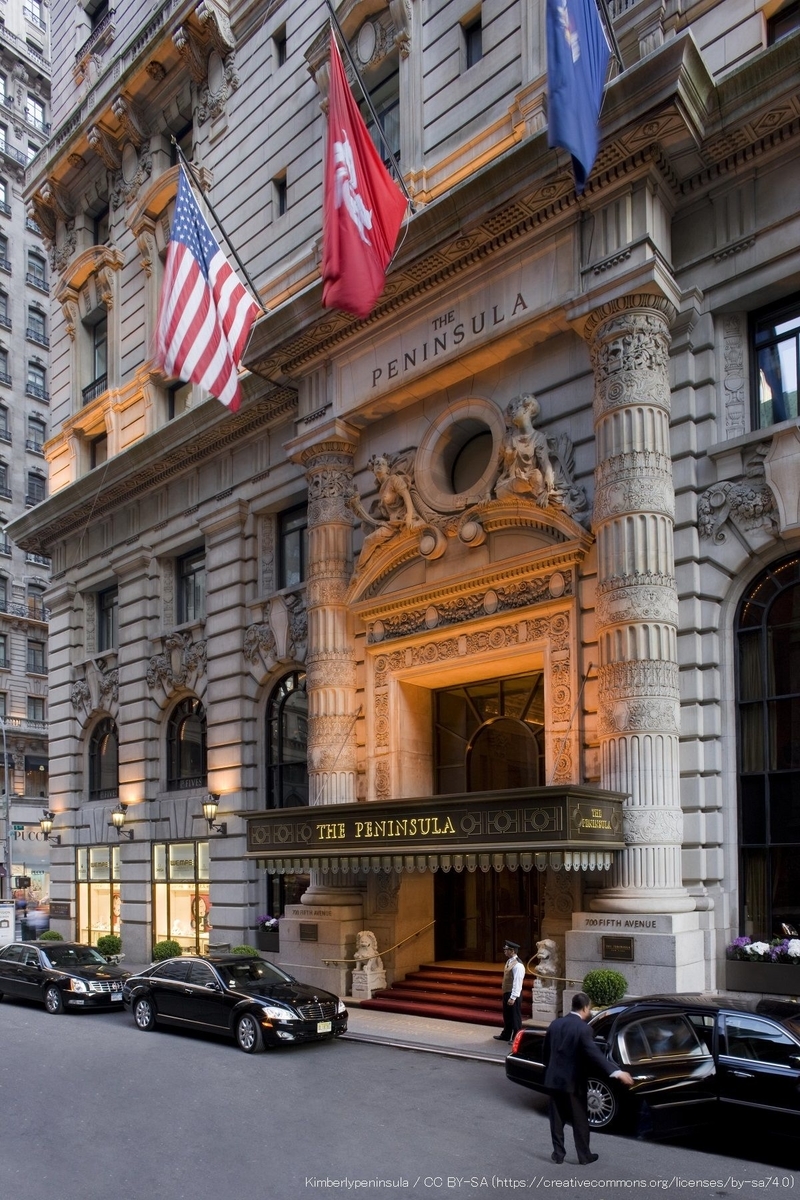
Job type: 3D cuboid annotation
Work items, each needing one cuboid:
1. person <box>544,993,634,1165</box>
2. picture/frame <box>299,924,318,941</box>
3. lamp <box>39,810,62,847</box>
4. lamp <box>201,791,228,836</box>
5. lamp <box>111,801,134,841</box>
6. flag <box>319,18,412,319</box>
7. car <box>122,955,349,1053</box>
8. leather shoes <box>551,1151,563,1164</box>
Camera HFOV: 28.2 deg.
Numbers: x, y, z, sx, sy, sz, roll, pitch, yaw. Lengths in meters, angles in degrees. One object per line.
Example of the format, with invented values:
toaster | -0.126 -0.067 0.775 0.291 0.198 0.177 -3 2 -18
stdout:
person | 2.086 5.511 18.197 0.896 1.751 0.991 -3 -1 22
picture/frame | -1.686 6.098 29.114 0.064 0.321 0.517 -2 -1 -43
lamp | -9.164 5.966 41.570 0.506 0.796 1.231 -2 -1 -22
lamp | -3.971 4.637 34.073 0.454 0.812 1.200 -3 -1 -7
lamp | -6.610 5.324 37.829 0.519 0.769 1.326 -3 -1 -10
flag | -0.767 -6.879 26.220 0.822 4.098 1.561 -3 -1 26
car | -2.600 6.294 24.947 3.139 0.967 1.376 -22 -32 38
leather shoes | 1.775 6.285 17.979 0.139 0.143 0.185 -3 -1 4
